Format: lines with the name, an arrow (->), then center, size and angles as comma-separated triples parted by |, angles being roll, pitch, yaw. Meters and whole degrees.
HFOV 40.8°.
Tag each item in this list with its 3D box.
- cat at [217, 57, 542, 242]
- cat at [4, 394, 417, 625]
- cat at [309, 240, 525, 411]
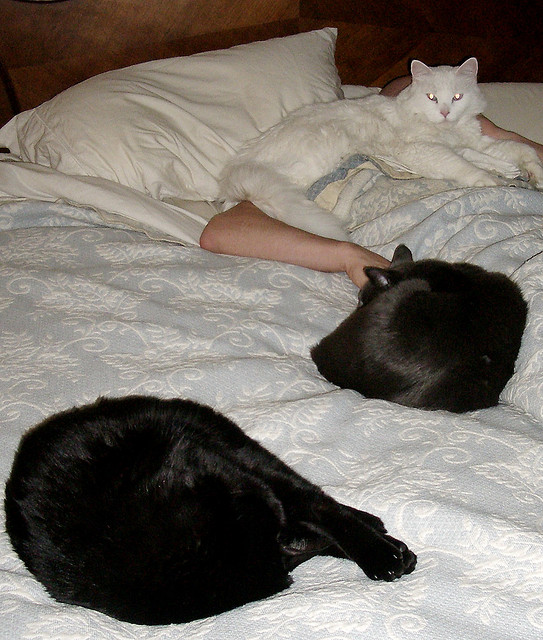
cat -> 0.326, -0.475, 2.378 | 1.111, 0.353, 0.646 | 1, 39, 12
cat -> -0.151, 0.312, 1.182 | 0.474, 0.171, 0.542 | -20, 35, -29
cat -> 0.352, -0.007, 1.507 | 0.460, 0.150, 0.358 | 15, 58, 30
